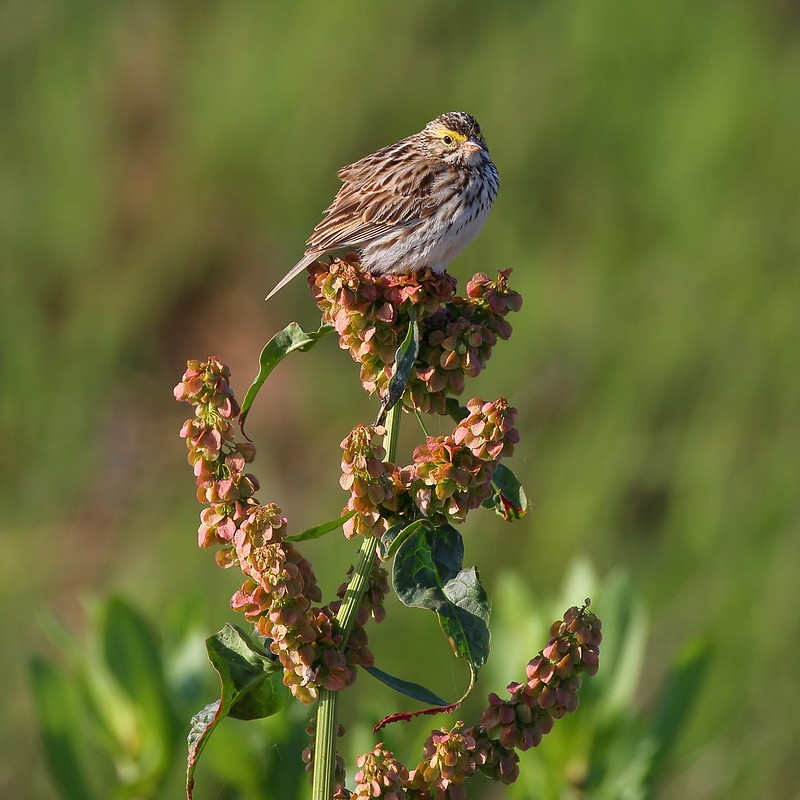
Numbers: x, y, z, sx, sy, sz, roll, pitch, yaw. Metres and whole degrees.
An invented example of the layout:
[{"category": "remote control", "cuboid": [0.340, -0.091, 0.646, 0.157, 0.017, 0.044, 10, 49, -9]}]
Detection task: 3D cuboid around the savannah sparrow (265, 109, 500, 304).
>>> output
[{"category": "savannah sparrow", "cuboid": [-0.049, -0.499, 4.258, 0.645, 0.668, 0.459, -2, -17, -3]}]
